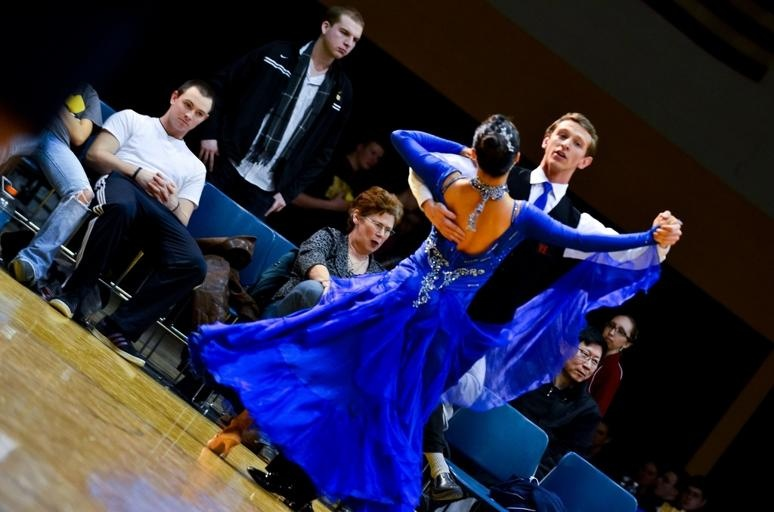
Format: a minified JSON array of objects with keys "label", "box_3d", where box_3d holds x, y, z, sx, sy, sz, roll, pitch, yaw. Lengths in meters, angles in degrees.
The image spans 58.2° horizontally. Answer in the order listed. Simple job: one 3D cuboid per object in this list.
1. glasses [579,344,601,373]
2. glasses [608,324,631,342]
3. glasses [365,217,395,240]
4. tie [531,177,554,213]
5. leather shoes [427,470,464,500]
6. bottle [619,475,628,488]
[{"label":"glasses","box_3d":[1.319,0.643,4.501,0.134,0.198,0.097,8,0,-12]},{"label":"glasses","box_3d":[1.697,0.560,5.003,0.107,0.142,0.153,9,-36,18]},{"label":"glasses","box_3d":[-0.037,-0.182,4.205,0.122,0.042,0.120,40,8,36]},{"label":"tie","box_3d":[0.854,-0.322,3.750,0.080,0.192,0.054,22,-11,5]},{"label":"leather shoes","box_3d":[0.311,1.216,3.668,0.105,0.092,0.196,2,-15,-10]},{"label":"bottle","box_3d":[1.813,1.690,5.224,0.048,0.100,0.069,-14,-65,39]}]
